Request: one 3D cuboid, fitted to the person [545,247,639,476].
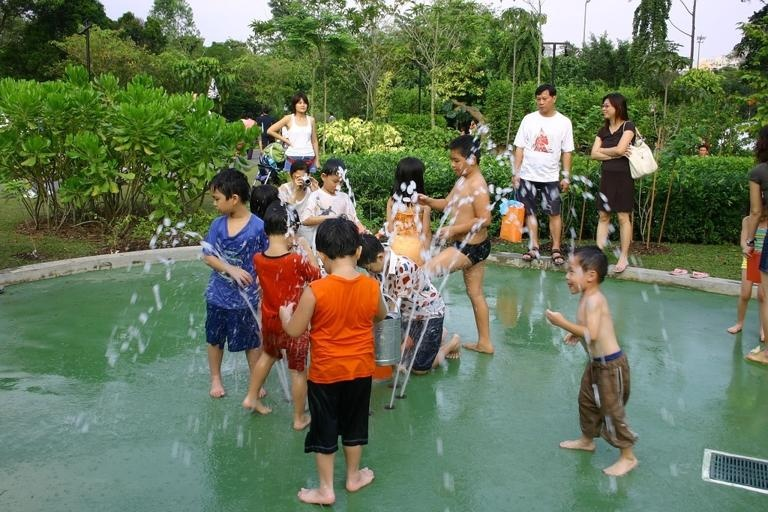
[{"bbox_3d":[1.766,0.839,4.254,0.641,1.790,0.515,4,9,27],"label":"person"}]

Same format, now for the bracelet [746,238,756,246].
[{"bbox_3d":[4.179,-0.148,5.955,0.066,0.095,0.054,2,34,-3],"label":"bracelet"}]

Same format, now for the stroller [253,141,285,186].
[{"bbox_3d":[-2.512,-1.951,11.547,0.707,1.105,0.614,23,26,38],"label":"stroller"}]

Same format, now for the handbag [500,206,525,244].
[{"bbox_3d":[2.073,-0.514,8.461,0.372,0.555,0.294,12,14,33],"label":"handbag"}]

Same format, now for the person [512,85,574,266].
[{"bbox_3d":[2.601,-1.313,8.616,0.914,2.816,0.861,2,9,17],"label":"person"}]

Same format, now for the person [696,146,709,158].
[{"bbox_3d":[11.782,-3.860,19.214,0.276,0.431,1.628,5,10,29],"label":"person"}]

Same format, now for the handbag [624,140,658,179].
[{"bbox_3d":[3.998,-1.506,8.098,0.398,0.610,0.515,4,9,27],"label":"handbag"}]
